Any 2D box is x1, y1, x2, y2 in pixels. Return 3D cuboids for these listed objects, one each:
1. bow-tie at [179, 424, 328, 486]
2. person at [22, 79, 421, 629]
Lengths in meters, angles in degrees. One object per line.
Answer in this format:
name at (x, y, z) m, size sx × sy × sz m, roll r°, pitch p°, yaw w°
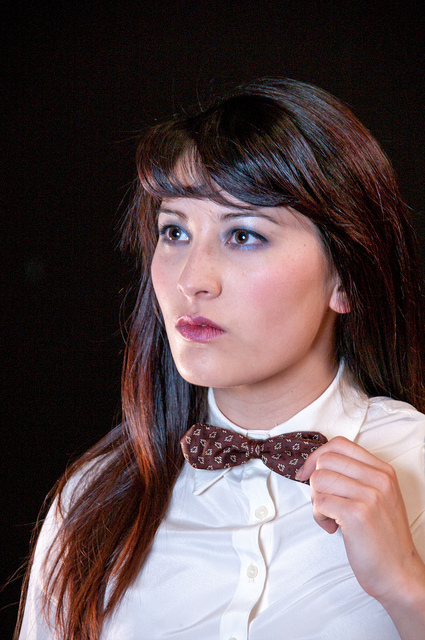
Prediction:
bow-tie at (0.080, 0.262, 1.183) m, size 0.279 × 0.081 × 0.051 m, roll 4°, pitch -11°, yaw 22°
person at (-0.001, 0.069, 1.312) m, size 0.839 × 1.073 × 0.556 m, roll -15°, pitch 0°, yaw 25°
